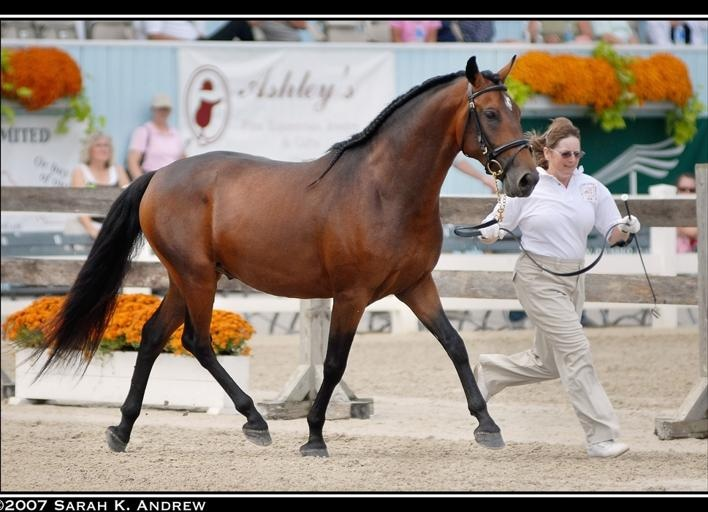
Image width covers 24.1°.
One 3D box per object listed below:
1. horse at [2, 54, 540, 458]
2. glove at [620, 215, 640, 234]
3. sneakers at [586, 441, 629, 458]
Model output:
[{"bbox_3d":[-0.913,0.004,16.591,5.169,3.359,1.208,1,1,14],"label":"horse"},{"bbox_3d":[2.519,-0.279,15.232,0.187,0.180,0.200,2,10,9],"label":"glove"},{"bbox_3d":[2.291,1.780,15.044,0.340,0.124,0.156,-3,4,0],"label":"sneakers"}]
